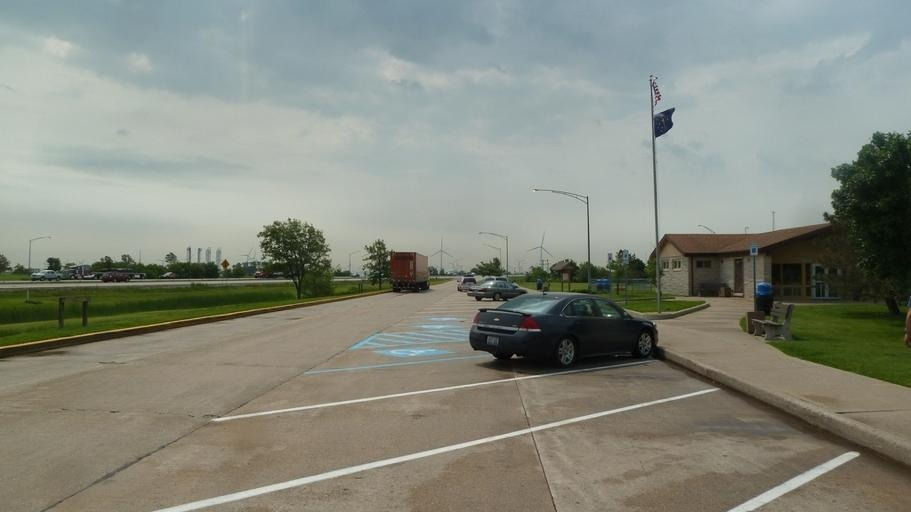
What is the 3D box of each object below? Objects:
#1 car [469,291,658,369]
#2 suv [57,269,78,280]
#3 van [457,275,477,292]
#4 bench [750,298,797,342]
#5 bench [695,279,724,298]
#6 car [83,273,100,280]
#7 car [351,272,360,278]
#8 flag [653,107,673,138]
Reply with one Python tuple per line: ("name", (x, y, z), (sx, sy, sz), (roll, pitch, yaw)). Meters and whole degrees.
("car", (3.363, 2.143, 17.864), (5.013, 1.465, 2.183), (-1, -1, -29))
("suv", (-58.858, 2.637, 89.158), (2.553, 1.364, 1.598), (-2, -1, 17))
("van", (1.444, 3.156, 71.226), (1.760, 1.209, 3.448), (1, 1, 5))
("bench", (11.141, 2.184, 20.470), (1.155, 1.220, 1.988), (2, 3, 27))
("bench", (19.479, 2.304, 44.698), (1.870, 1.083, 0.544), (0, 3, 6))
("car", (-52.554, 2.822, 84.725), (3.029, 0.872, 2.027), (-5, -5, 42))
("car", (-24.453, 4.541, 143.761), (1.989, 0.957, 1.954), (2, -3, -37))
("flag", (10.391, -6.675, 29.082), (0.587, 1.117, 1.229), (0, 3, -7))
